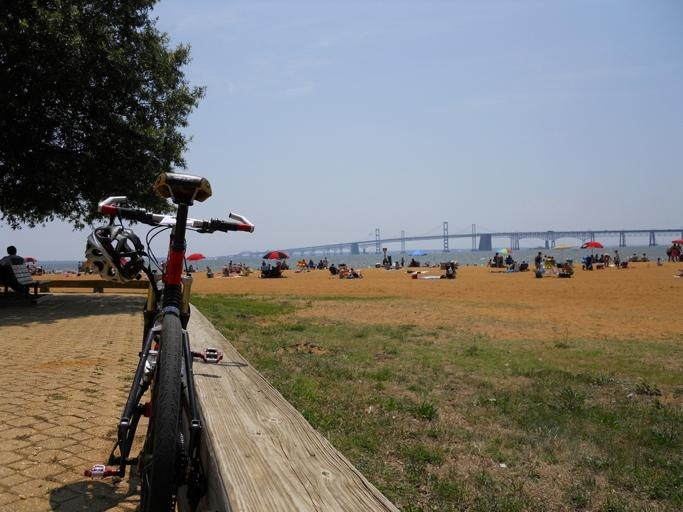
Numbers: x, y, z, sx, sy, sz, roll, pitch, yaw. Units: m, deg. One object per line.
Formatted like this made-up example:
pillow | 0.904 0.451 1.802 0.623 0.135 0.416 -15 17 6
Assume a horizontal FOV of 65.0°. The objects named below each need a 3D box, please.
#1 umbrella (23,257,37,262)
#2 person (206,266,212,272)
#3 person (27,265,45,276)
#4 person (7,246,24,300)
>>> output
umbrella | -20.361 0.250 34.795 0.518 0.425 0.517 6 6 13
person | -16.300 1.566 65.395 0.341 1.030 0.509 11 13 41
person | -25.346 1.219 44.292 1.061 0.626 1.718 2 -1 -6
person | -9.073 0.428 14.863 0.355 1.378 1.776 -2 1 -30
